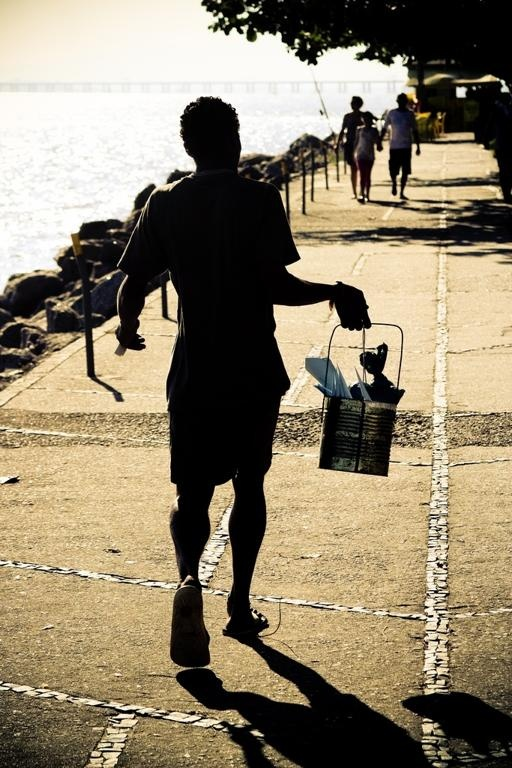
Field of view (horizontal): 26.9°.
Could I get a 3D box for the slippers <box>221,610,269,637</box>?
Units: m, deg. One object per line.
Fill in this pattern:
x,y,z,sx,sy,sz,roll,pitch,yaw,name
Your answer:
-0.028,0.822,3.677,0.077,0.070,0.173,2,5,21,slippers

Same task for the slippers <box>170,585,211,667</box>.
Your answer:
-0.197,0.733,3.260,0.115,0.243,0.121,0,12,-3,slippers

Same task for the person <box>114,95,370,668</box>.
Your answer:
-0.047,0.005,3.450,0.765,1.811,0.763,-3,12,-9,person
